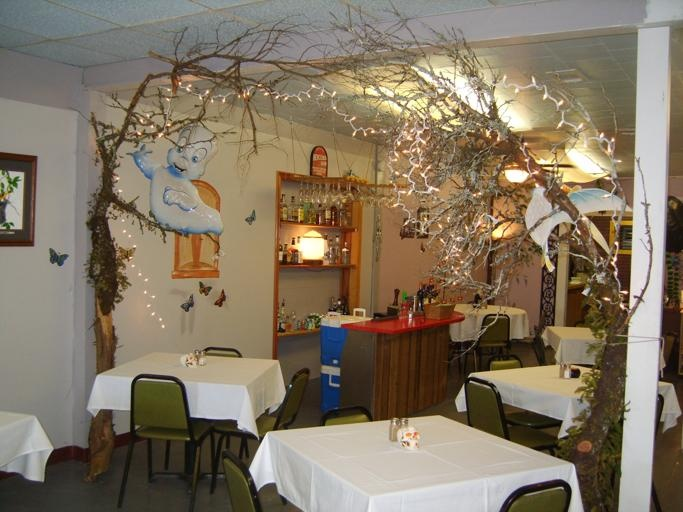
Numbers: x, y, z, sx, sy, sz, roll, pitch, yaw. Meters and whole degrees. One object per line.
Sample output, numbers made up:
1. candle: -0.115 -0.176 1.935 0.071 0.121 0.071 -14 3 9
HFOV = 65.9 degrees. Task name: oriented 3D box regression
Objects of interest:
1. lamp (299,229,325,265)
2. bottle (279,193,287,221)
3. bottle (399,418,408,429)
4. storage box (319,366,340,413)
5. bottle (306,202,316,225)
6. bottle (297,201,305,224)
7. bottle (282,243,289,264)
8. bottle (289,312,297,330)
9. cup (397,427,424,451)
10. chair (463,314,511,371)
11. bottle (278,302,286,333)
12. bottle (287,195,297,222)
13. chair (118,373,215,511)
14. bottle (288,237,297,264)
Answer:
1. lamp: -0.316 -0.115 7.017 0.371 0.447 0.380 0 1 4
2. bottle: -0.732 -0.620 6.773 0.096 0.301 0.264 -1 0 -7
3. bottle: 0.408 1.089 3.432 0.055 0.060 0.054 2 -1 -38
4. storage box: -0.141 1.559 6.160 0.103 0.443 0.376 -1 0 -37
5. bottle: -0.401 -0.544 7.000 0.105 0.231 0.229 -1 0 39
6. bottle: -0.521 -0.547 6.905 0.093 0.205 0.177 -1 0 0
7. bottle: -0.729 -0.025 6.875 0.071 0.223 0.219 -1 0 -6
8. bottle: -0.643 0.887 7.130 0.063 0.241 0.032 4 -3 -21
9. cup: 0.439 1.143 3.297 0.102 0.121 0.133 5 -14 -27
10. chair: 2.213 1.241 7.885 0.491 0.963 0.584 1 11 0
11. bottle: -0.767 0.791 6.857 0.097 0.336 0.286 -1 0 -7
12. bottle: -0.633 -0.618 6.908 0.114 0.285 0.185 -1 0 -6
13. chair: -1.411 1.451 4.240 0.653 1.023 0.403 -1 0 11
14. bottle: -0.626 -0.065 6.936 0.112 0.285 0.209 -1 0 -5
